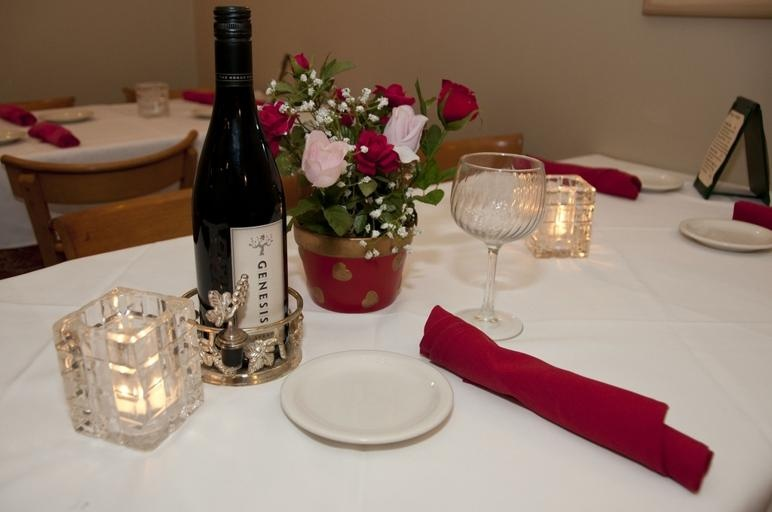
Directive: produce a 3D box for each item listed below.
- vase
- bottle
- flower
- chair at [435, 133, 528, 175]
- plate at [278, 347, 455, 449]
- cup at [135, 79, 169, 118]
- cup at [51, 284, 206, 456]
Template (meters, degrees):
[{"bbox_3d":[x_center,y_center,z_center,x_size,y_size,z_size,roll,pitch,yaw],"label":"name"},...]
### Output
[{"bbox_3d":[-0.047,0.017,1.050,0.163,0.109,0.171,-2,20,-11],"label":"vase"},{"bbox_3d":[-0.221,-0.091,0.835,0.143,0.504,0.160,-7,27,-19],"label":"bottle"},{"bbox_3d":[0.007,-0.170,0.984,0.347,0.259,0.361,4,29,27],"label":"flower"},{"bbox_3d":[0.323,-0.382,1.969,0.320,0.137,0.231,-3,12,23],"label":"chair"},{"bbox_3d":[-0.030,0.207,0.839,0.143,0.021,0.148,-1,29,-8],"label":"plate"},{"bbox_3d":[-1.089,-0.715,2.614,0.151,0.161,0.149,4,29,-2],"label":"cup"},{"bbox_3d":[-0.366,0.152,0.802,0.176,0.181,0.124,8,27,12],"label":"cup"}]
